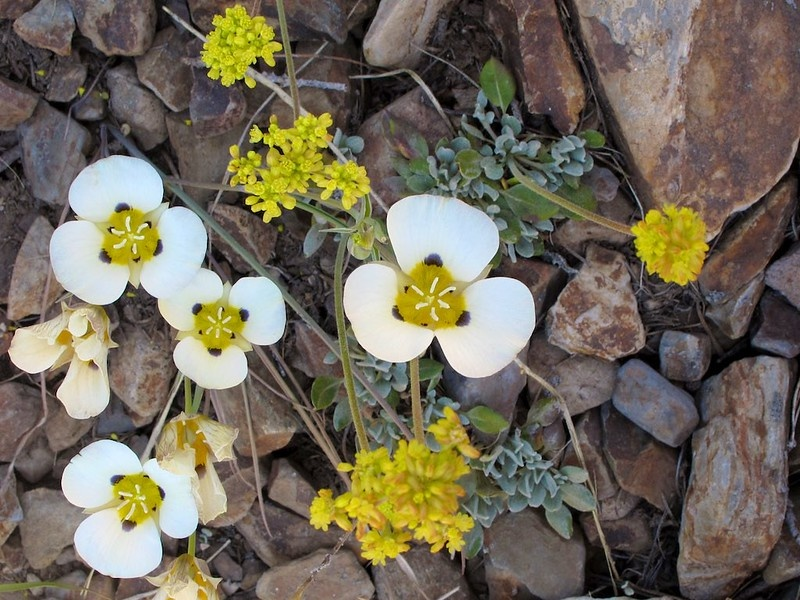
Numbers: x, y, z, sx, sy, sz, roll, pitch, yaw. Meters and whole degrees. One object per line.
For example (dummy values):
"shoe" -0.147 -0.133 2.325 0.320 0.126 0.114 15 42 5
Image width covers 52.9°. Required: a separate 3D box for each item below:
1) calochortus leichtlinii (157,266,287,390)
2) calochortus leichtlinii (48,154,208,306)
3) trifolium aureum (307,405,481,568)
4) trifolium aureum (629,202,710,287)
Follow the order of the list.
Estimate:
"calochortus leichtlinii" -0.960 0.129 4.374 0.641 0.152 0.692 -19 61 -27
"calochortus leichtlinii" -1.443 -0.381 4.278 0.807 0.249 0.726 -3 77 -5
"trifolium aureum" -0.001 0.883 3.923 0.686 1.236 0.620 -4 24 -11
"trifolium aureum" 1.294 -0.250 3.868 0.358 0.300 0.375 -25 78 -9
